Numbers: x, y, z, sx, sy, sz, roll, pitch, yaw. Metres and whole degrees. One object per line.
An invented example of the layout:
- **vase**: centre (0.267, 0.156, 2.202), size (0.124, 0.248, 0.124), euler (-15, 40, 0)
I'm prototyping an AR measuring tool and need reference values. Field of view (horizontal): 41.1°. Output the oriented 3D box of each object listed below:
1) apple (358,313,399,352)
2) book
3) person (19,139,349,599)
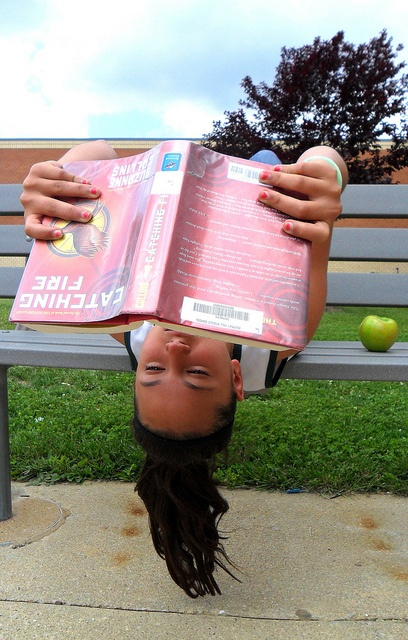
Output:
- **apple**: centre (0.580, 0.042, 1.825), size (0.113, 0.112, 0.165), euler (3, 7, 16)
- **book**: centre (-0.077, -0.233, 1.012), size (0.707, 0.452, 0.157), euler (4, -20, 8)
- **person**: centre (0.224, 0.074, 1.782), size (1.184, 1.044, 1.325), euler (5, 14, -6)
